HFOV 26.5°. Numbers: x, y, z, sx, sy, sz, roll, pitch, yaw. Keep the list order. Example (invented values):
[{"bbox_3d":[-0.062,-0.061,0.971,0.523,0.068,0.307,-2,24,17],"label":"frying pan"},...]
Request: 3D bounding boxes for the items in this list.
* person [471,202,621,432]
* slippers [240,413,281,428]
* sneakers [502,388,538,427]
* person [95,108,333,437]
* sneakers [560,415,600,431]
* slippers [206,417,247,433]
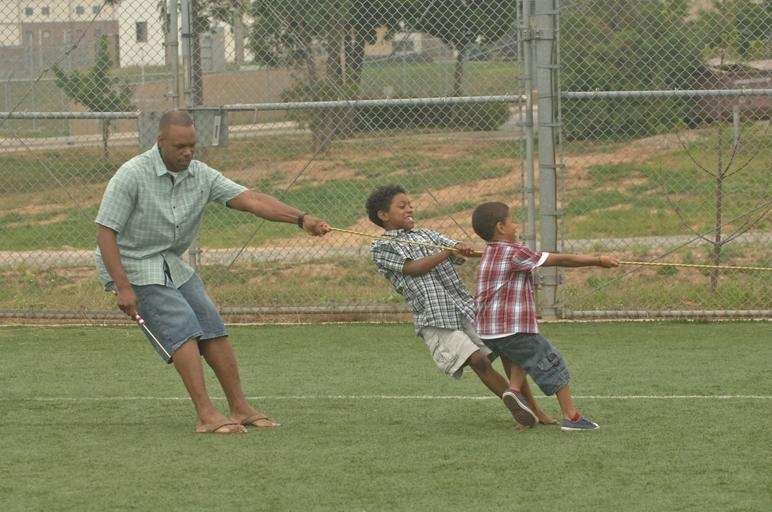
[{"bbox_3d":[1.230,0.500,13.809,0.930,1.929,0.391,-4,6,6],"label":"person"},{"bbox_3d":[-1.065,1.388,13.930,0.339,0.084,0.128,0,3,12],"label":"slippers"},{"bbox_3d":[1.124,1.271,13.763,0.182,0.385,0.177,-35,11,41],"label":"sneakers"},{"bbox_3d":[-1.656,0.128,13.837,1.470,2.709,0.516,-5,6,-6],"label":"person"},{"bbox_3d":[1.633,1.392,13.763,0.311,0.115,0.125,0,0,-5],"label":"sneakers"},{"bbox_3d":[-1.347,1.415,13.752,0.266,0.087,0.140,-4,2,4],"label":"slippers"}]
